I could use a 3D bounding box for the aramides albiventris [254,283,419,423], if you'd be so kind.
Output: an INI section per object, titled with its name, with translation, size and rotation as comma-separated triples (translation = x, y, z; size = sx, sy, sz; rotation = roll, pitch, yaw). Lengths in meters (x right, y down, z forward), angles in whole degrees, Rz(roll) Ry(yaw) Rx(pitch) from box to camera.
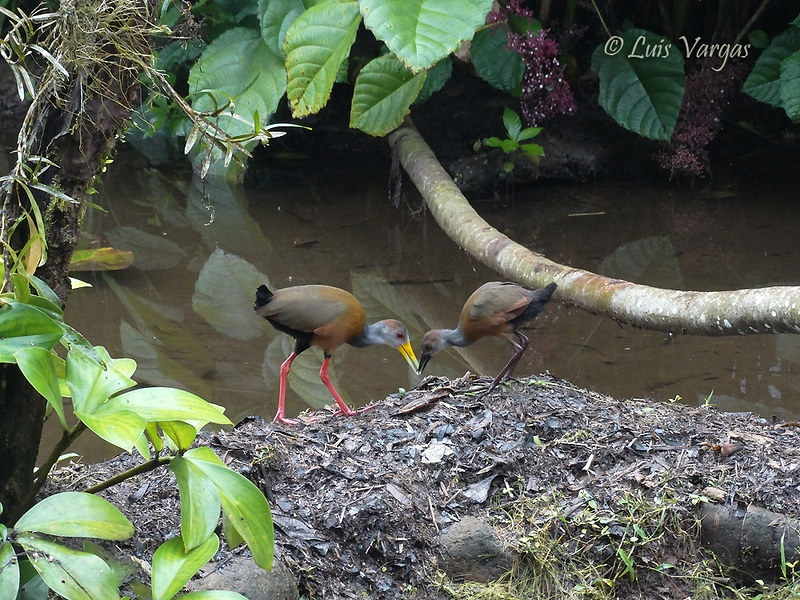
[aramides albiventris]
translation = -0.363, 0.309, 4.936
size = 0.957, 0.384, 0.730
rotation = 8, 89, 6

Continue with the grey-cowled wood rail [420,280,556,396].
[grey-cowled wood rail]
translation = 0.498, 0.199, 4.903
size = 0.811, 0.376, 0.559
rotation = -16, 86, 3
